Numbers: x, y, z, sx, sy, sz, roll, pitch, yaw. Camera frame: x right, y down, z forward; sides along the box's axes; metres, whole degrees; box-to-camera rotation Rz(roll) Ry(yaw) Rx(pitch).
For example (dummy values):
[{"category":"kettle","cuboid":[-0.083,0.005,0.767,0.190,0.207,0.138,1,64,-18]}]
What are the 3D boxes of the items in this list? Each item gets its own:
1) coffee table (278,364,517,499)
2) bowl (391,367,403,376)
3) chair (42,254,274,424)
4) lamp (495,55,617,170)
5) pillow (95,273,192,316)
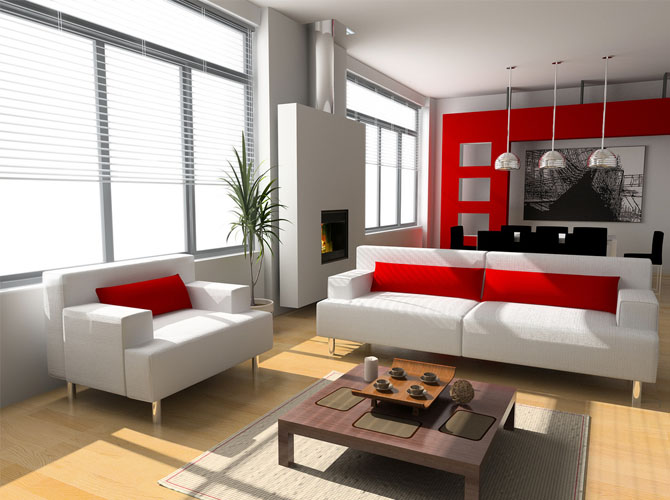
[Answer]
[{"category":"coffee table","cuboid":[0.351,0.952,2.563,0.778,0.206,0.792,2,5,32]},{"category":"bowl","cuboid":[0.390,0.759,2.904,0.046,0.022,0.046,-1,4,0]},{"category":"chair","cuboid":[-1.330,0.616,3.790,1.196,0.917,1.378,3,7,24]},{"category":"lamp","cuboid":[3.777,-2.346,7.854,0.466,1.905,1.978,2,-1,-40]},{"category":"pillow","cuboid":[-1.585,0.423,3.793,0.210,0.248,0.692,-29,-13,35]}]
